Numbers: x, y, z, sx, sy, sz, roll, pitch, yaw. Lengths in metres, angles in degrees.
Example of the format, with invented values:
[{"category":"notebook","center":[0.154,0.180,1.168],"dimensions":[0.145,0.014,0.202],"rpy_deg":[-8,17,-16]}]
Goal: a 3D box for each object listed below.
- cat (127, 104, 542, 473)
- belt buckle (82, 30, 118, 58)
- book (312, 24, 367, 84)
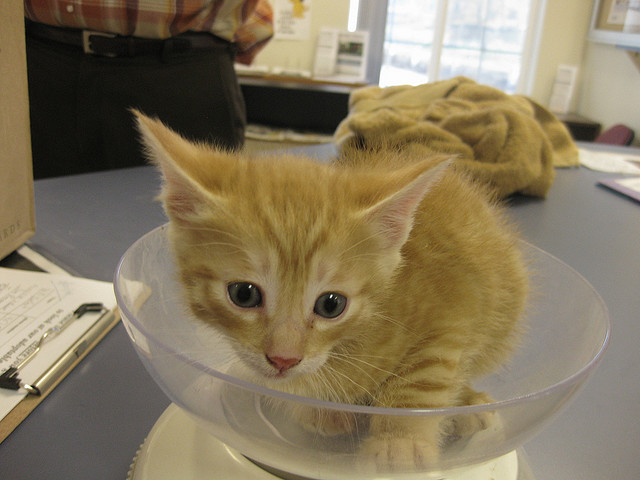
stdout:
[{"category":"cat","center":[0.050,0.011,0.620],"dimensions":[0.273,0.308,0.396],"rpy_deg":[11,24,24]},{"category":"belt buckle","center":[-0.509,-0.445,1.379],"dimensions":[0.060,0.055,0.028],"rpy_deg":[2,13,-7]},{"category":"book","center":[0.127,-1.129,3.619],"dimensions":[0.304,0.243,0.284],"rpy_deg":[7,30,0]}]
